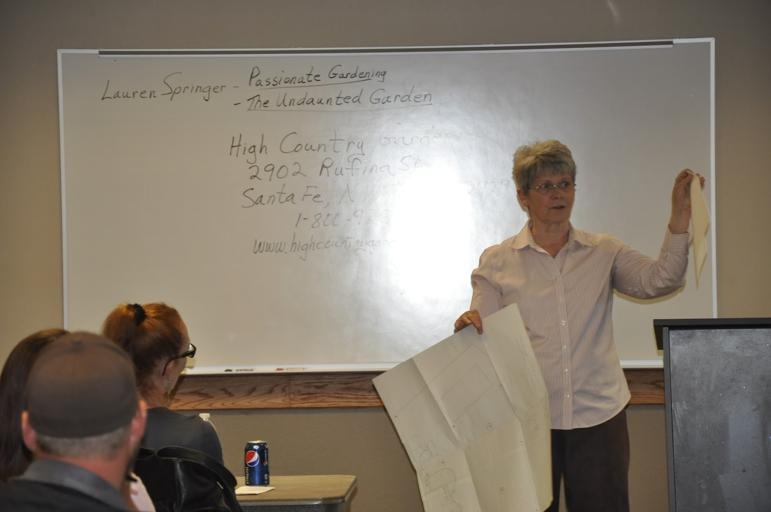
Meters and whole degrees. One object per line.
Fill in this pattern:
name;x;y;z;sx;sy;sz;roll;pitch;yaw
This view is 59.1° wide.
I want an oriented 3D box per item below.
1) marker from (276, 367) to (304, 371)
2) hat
marker;-0.504;0.607;3.610;0.141;0.024;0.007;0;3;2
hat;-0.864;0.379;1.914;0.256;0.290;0.203;-5;-30;-21
